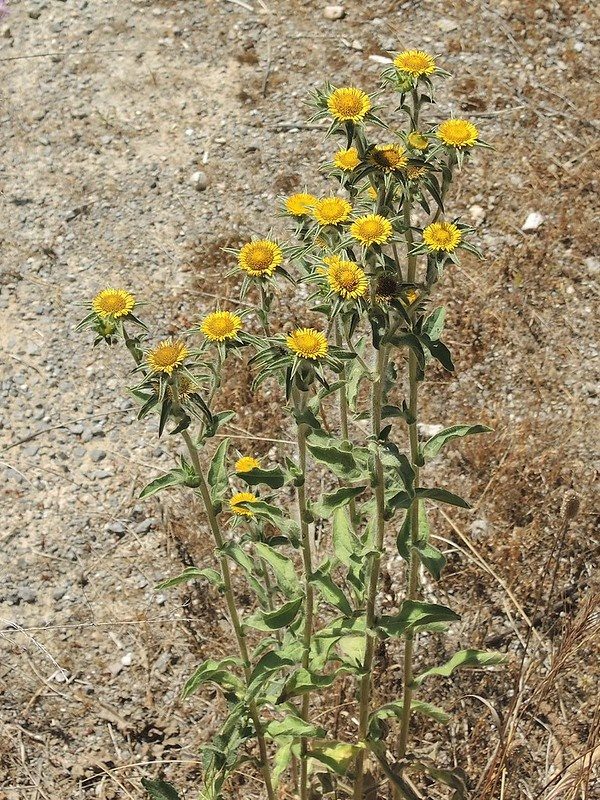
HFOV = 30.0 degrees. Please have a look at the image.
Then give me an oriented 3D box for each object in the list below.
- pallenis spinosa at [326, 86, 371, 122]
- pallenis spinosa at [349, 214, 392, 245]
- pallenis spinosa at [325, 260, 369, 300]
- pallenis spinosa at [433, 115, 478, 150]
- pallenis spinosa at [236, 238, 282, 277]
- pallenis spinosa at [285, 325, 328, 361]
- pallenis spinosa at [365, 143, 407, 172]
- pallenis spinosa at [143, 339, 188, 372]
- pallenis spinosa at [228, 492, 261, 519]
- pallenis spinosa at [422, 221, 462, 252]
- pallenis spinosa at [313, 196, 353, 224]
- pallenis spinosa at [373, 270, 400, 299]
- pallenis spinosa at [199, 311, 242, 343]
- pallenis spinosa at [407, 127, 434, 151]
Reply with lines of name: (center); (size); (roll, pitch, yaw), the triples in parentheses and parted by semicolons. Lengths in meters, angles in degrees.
pallenis spinosa: (0.189, -1.141, 4.308); (0.164, 0.086, 0.207); (-2, 39, 1)
pallenis spinosa: (0.274, -0.647, 4.173); (0.146, 0.038, 0.126); (13, 59, 16)
pallenis spinosa: (0.185, -0.455, 4.256); (0.151, 0.118, 0.160); (-2, 40, 2)
pallenis spinosa: (0.623, -1.069, 4.443); (0.166, 0.098, 0.251); (1, 39, 6)
pallenis spinosa: (-0.163, -0.612, 4.687); (0.188, 0.142, 0.235); (-4, 40, -1)
pallenis spinosa: (0.031, -0.217, 4.216); (0.159, 0.088, 0.152); (-2, 40, 1)
pallenis spinosa: (0.328, -0.910, 4.157); (0.150, 0.082, 0.151); (0, 40, 4)
pallenis spinosa: (-0.499, -0.167, 4.229); (0.152, 0.042, 0.128); (-10, 54, 2)
pallenis spinosa: (-0.256, 0.451, 4.856); (0.139, 0.057, 0.120); (8, 59, 25)
pallenis spinosa: (0.555, -0.645, 4.332); (0.148, 0.076, 0.178); (2, 39, 6)
pallenis spinosa: (0.137, -0.813, 4.700); (0.160, 0.081, 0.227); (-3, 39, 0)
pallenis spinosa: (0.328, -0.432, 4.218); (0.102, 0.057, 0.095); (-5, 64, -9)
pallenis spinosa: (-0.329, -0.322, 4.574); (0.165, 0.082, 0.230); (-7, 39, -5)
pallenis spinosa: (0.445, -0.980, 4.213); (0.074, 0.069, 0.084); (13, 44, 19)
